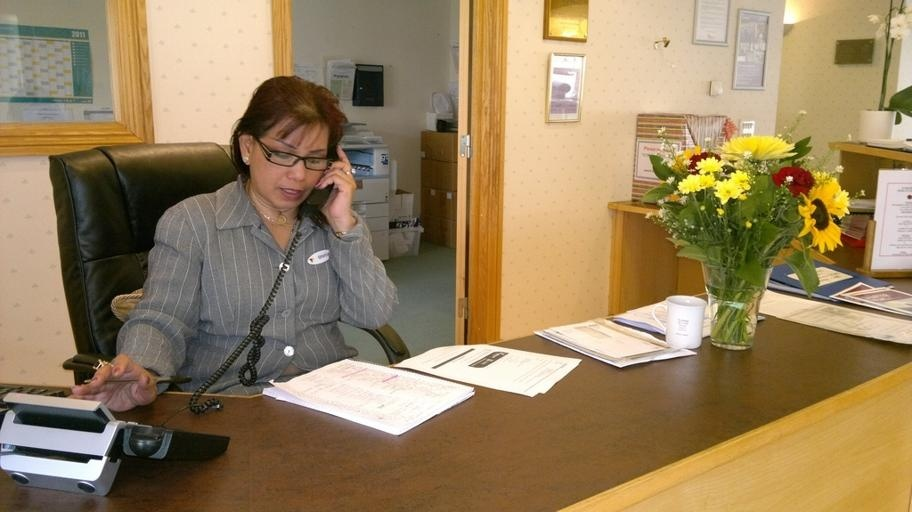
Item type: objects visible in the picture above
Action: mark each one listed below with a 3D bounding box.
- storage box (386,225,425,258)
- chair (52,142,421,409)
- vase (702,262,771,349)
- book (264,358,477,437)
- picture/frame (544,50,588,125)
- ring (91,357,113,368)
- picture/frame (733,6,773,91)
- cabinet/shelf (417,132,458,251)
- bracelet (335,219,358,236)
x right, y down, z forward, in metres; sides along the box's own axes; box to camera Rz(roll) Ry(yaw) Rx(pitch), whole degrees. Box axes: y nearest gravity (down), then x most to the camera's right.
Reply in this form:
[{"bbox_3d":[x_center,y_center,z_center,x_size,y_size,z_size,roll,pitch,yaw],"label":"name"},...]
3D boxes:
[{"bbox_3d":[-0.608,-0.161,7.025,0.371,0.274,0.392,-1,5,-12],"label":"storage box"},{"bbox_3d":[-0.989,0.072,2.688,1.080,1.123,1.040,-6,1,-31],"label":"chair"},{"bbox_3d":[1.030,0.181,2.325,0.320,0.327,0.311,3,4,22],"label":"vase"},{"bbox_3d":[-0.268,0.451,1.918,0.295,0.032,0.313,9,12,33],"label":"book"},{"bbox_3d":[0.745,-1.154,4.076,0.026,0.455,0.414,17,24,40],"label":"picture/frame"},{"bbox_3d":[-1.149,0.351,1.926,0.038,0.037,0.021,-29,70,-29],"label":"ring"},{"bbox_3d":[2.451,-1.755,4.933,0.057,0.743,0.702,10,13,44],"label":"picture/frame"},{"bbox_3d":[-0.206,-0.855,7.524,0.249,1.436,0.702,-10,16,-30],"label":"cabinet/shelf"},{"bbox_3d":[-0.445,-0.111,2.448,0.069,0.032,0.084,-12,13,30],"label":"bracelet"}]
